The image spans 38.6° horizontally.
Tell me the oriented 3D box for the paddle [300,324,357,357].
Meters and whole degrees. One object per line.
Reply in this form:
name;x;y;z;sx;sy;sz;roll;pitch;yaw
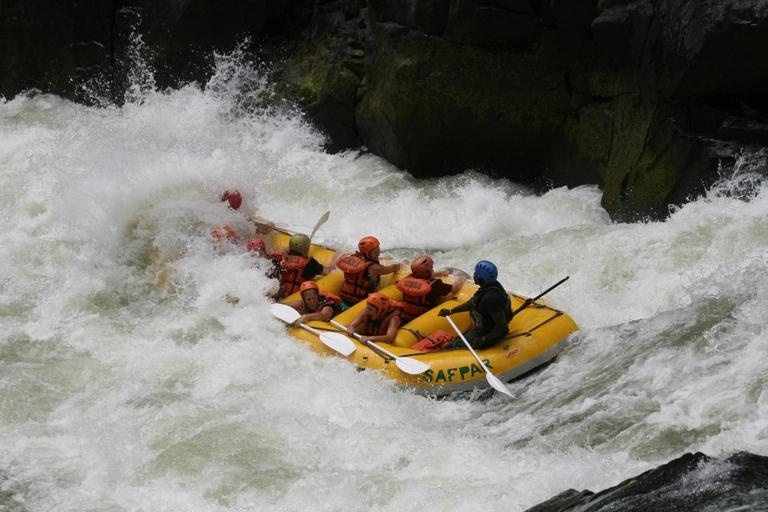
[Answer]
paddle;-0.775;1.174;15.678;0.244;0.092;0.854;-38;37;-24

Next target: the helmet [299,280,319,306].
helmet;-1.109;0.526;16.109;0.252;0.328;0.327;-8;65;-5

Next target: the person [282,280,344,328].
person;-1.013;0.710;16.138;0.539;0.421;0.742;14;23;21

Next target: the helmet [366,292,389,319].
helmet;-0.109;0.714;15.837;0.334;0.290;0.249;-6;24;-32

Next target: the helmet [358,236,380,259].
helmet;-0.258;-0.157;16.603;0.331;0.322;0.252;-11;28;14

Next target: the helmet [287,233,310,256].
helmet;-1.298;-0.194;16.873;0.260;0.324;0.343;9;30;12

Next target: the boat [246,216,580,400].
boat;0.375;1.025;15.806;3.970;0.660;1.957;21;38;20

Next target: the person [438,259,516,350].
person;1.400;0.438;15.935;1.207;1.713;0.967;4;29;3

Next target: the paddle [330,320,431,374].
paddle;-0.053;1.305;15.553;1.366;0.055;0.243;28;62;34

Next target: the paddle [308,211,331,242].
paddle;-1.045;-0.496;17.416;0.106;0.766;0.169;6;39;-40

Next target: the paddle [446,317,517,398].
paddle;1.376;1.439;15.330;0.198;0.072;1.503;-24;47;-10

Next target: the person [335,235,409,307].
person;-0.288;0.203;16.788;0.846;0.978;1.370;13;7;29
